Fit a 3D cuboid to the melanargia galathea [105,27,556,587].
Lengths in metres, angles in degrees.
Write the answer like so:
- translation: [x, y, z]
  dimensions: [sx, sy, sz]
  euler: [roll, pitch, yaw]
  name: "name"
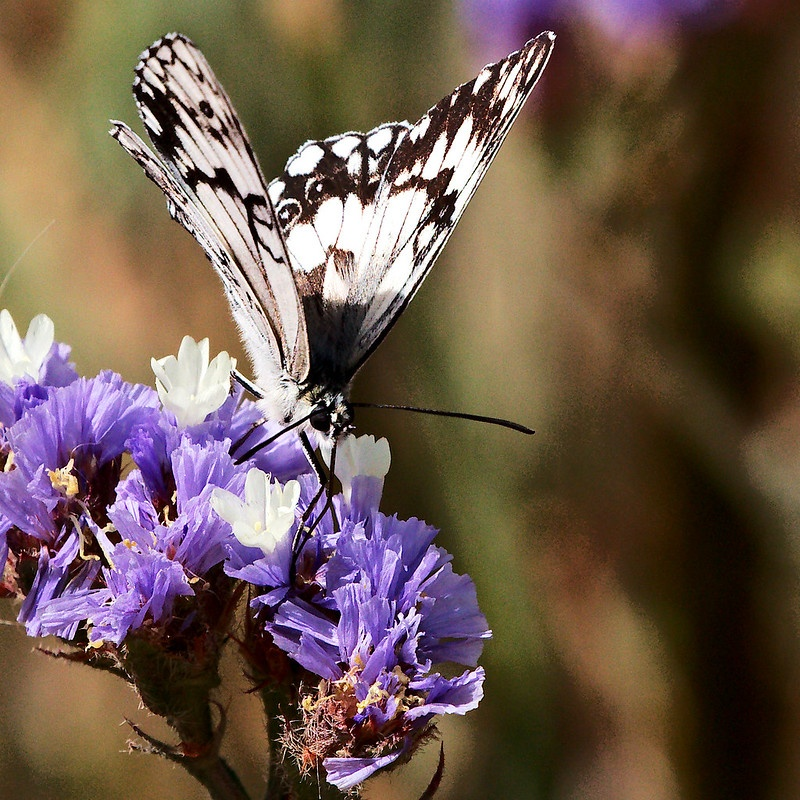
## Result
- translation: [-0.112, -0.106, 1.466]
  dimensions: [0.425, 0.461, 0.343]
  euler: [5, -6, -30]
  name: "melanargia galathea"
